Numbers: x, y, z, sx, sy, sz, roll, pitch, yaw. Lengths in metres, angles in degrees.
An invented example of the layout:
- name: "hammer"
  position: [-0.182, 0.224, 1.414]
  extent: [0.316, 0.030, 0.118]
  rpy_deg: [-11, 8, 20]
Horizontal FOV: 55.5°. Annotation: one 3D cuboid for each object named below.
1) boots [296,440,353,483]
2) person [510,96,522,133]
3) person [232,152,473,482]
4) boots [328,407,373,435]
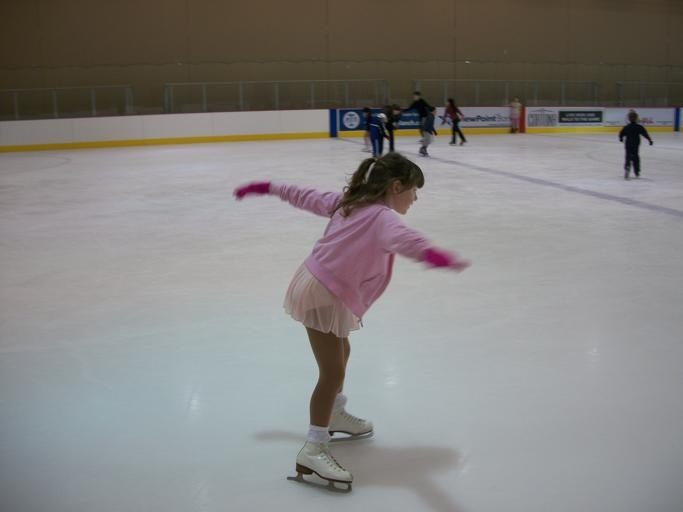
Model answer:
- name: "boots"
  position: [-0.070, 0.897, 2.848]
  extent: [0.274, 0.150, 0.097]
  rpy_deg: [-1, -8, 35]
- name: "person"
  position: [6.319, -5.100, 23.434]
  extent: [0.436, 1.281, 0.844]
  rpy_deg: [0, 7, 20]
- name: "person"
  position: [0.033, 0.261, 3.047]
  extent: [0.619, 1.459, 1.559]
  rpy_deg: [-6, 18, -27]
- name: "boots"
  position: [0.038, 0.808, 3.219]
  extent: [0.281, 0.133, 0.091]
  rpy_deg: [-2, 13, -6]
